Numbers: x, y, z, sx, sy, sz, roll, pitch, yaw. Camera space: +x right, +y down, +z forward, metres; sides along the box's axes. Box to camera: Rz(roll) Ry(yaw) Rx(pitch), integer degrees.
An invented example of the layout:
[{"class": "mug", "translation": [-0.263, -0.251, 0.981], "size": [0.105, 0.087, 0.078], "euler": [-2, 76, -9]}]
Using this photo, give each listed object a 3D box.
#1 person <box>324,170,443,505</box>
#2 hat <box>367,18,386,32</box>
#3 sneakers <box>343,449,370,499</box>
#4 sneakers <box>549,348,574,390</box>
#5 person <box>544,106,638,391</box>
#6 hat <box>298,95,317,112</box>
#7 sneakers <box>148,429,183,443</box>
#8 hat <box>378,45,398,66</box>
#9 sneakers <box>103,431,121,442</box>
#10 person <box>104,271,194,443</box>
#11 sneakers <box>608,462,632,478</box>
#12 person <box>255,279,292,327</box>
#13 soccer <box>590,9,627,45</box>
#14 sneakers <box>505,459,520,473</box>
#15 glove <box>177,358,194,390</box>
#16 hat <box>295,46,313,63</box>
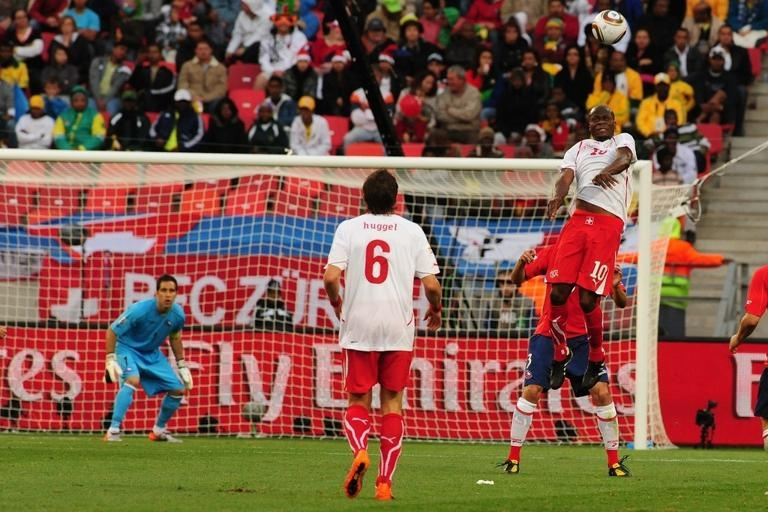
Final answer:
[{"class": "person", "translation": [-0.067, 0.844, 16.278], "size": [1.287, 3.737, 0.450], "euler": [1, -7, -3]}, {"class": "hat", "translation": [-0.166, -4.162, 25.823], "size": [0.287, 0.192, 0.383], "euler": [0, -1, -1]}, {"class": "sneakers", "translation": [-0.284, 2.352, 15.995], "size": [0.222, 0.581, 0.251], "euler": [18, 1, 6]}, {"class": "sneakers", "translation": [2.155, 1.378, 17.504], "size": [0.183, 0.529, 0.230], "euler": [18, 12, 29]}, {"class": "person", "translation": [2.540, -0.147, 17.471], "size": [1.060, 3.410, 0.548], "euler": [0, -8, 7]}, {"class": "hat", "translation": [-1.379, -2.655, 24.890], "size": [0.226, 0.178, 0.318], "euler": [10, -11, 5]}, {"class": "sneakers", "translation": [-2.984, 2.410, 19.434], "size": [0.499, 0.204, 0.165], "euler": [3, 5, -1]}, {"class": "hat", "translation": [0.050, -3.624, 25.581], "size": [0.375, 0.286, 0.270], "euler": [1, 11, -3]}, {"class": "sneakers", "translation": [-3.715, 2.393, 19.347], "size": [0.130, 0.118, 0.272], "euler": [4, 4, -1]}, {"class": "person", "translation": [-3.202, 1.342, 19.203], "size": [1.140, 2.175, 0.955], "euler": [2, -8, -8]}, {"class": "sneakers", "translation": [2.863, 2.529, 17.309], "size": [0.282, 0.205, 0.190], "euler": [0, -8, 10]}, {"class": "person", "translation": [-1.614, 0.667, 20.534], "size": [0.555, 0.739, 0.184], "euler": [1, -8, -3]}, {"class": "soccer", "translation": [2.999, -3.042, 18.853], "size": [0.453, 0.437, 0.452], "euler": [12, 7, 28]}, {"class": "sneakers", "translation": [1.576, 2.528, 17.478], "size": [0.140, 0.151, 0.173], "euler": [6, -22, -42]}, {"class": "glove", "translation": [-2.701, 1.566, 19.267], "size": [0.247, 0.379, 0.121], "euler": [-12, 8, 22]}, {"class": "hat", "translation": [-1.481, -3.623, 25.669], "size": [0.232, 0.237, 0.316], "euler": [3, -36, -5]}]
